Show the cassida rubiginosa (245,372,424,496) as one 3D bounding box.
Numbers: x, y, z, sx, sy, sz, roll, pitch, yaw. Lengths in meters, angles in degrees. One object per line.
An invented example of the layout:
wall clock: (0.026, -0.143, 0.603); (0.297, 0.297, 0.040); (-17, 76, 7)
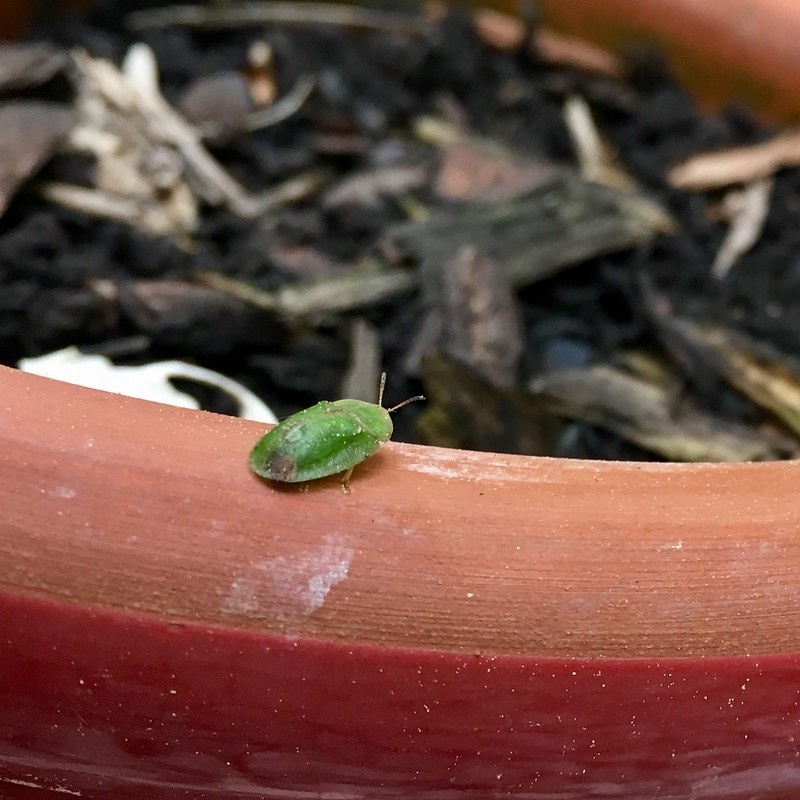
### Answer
cassida rubiginosa: (-0.045, 0.018, 0.757); (0.126, 0.031, 0.061); (-30, 70, -33)
